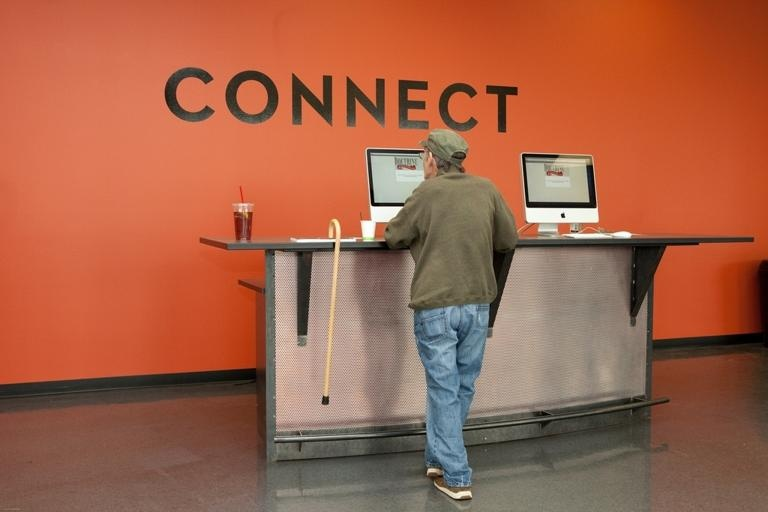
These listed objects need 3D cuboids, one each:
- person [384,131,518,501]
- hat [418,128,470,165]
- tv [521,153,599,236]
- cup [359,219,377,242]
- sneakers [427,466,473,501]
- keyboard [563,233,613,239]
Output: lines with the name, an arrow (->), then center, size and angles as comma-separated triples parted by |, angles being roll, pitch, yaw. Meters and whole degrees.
person -> 0.477, 0.551, 4.674 | 0.861, 2.227, 0.279 | -3, 3, -2
hat -> 0.437, -0.783, 4.788 | 0.283, 0.200, 0.399 | 8, 14, -6
tv -> 1.507, -0.533, 5.796 | 0.814, 0.823, 0.264 | 0, -5, -18
cup -> -0.132, -0.186, 5.208 | 0.138, 0.152, 0.144 | 1, 5, 0
sneakers -> 0.451, 1.595, 4.757 | 0.133, 0.157, 0.378 | -2, 7, -21
keyboard -> 1.640, -0.160, 5.434 | 0.358, 0.036, 0.560 | -2, 4, 18
